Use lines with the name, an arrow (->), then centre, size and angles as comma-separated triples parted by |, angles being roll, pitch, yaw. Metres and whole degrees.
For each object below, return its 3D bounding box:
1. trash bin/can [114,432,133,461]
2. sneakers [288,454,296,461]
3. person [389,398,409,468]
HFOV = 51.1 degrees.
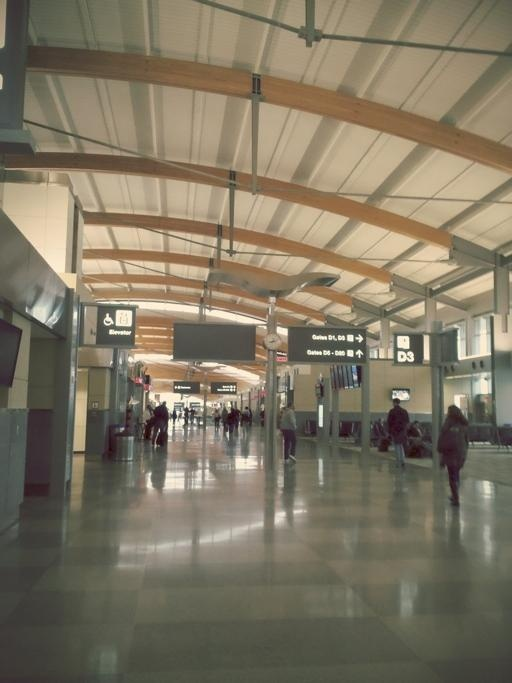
trash bin/can -> -4.240, 3.404, 17.253 | 0.761, 0.744, 0.735 | 2, -7, -15
sneakers -> 1.174, 3.747, 17.183 | 0.117, 0.360, 0.143 | -24, -5, 41
person -> 3.932, 2.476, 14.471 | 0.546, 1.826, 0.650 | -6, 2, -37
